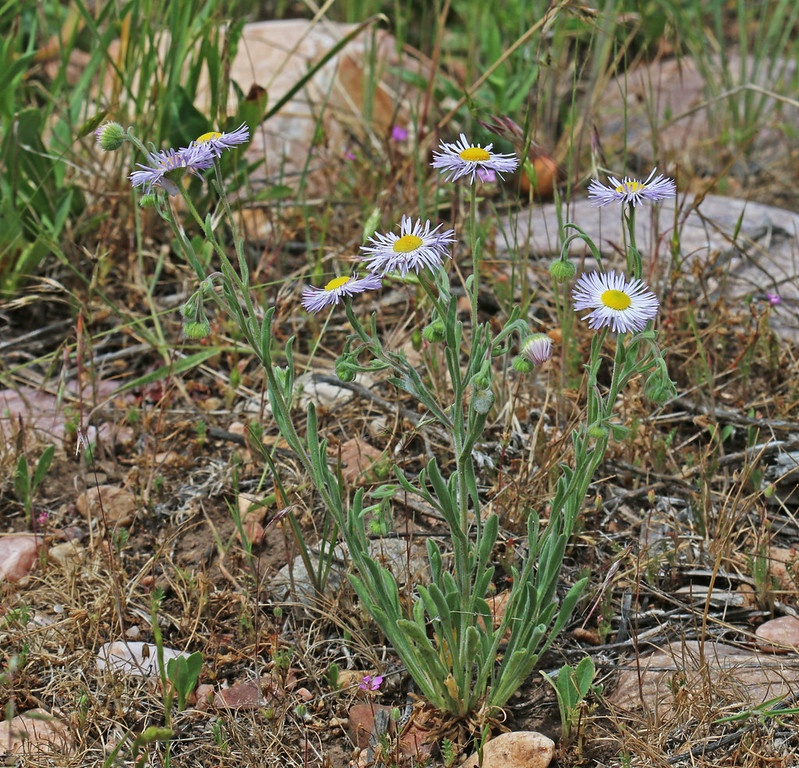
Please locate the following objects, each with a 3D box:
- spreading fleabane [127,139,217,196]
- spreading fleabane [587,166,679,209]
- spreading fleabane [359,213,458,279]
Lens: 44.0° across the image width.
[{"bbox_3d":[-0.479,-0.469,2.051,0.127,0.137,0.094,-14,69,-49],"label":"spreading fleabane"},{"bbox_3d":[0.494,-0.417,2.176,0.152,0.203,0.098,0,94,-2],"label":"spreading fleabane"},{"bbox_3d":[0.030,-0.295,2.019,0.154,0.218,0.078,-1,90,-6],"label":"spreading fleabane"}]
